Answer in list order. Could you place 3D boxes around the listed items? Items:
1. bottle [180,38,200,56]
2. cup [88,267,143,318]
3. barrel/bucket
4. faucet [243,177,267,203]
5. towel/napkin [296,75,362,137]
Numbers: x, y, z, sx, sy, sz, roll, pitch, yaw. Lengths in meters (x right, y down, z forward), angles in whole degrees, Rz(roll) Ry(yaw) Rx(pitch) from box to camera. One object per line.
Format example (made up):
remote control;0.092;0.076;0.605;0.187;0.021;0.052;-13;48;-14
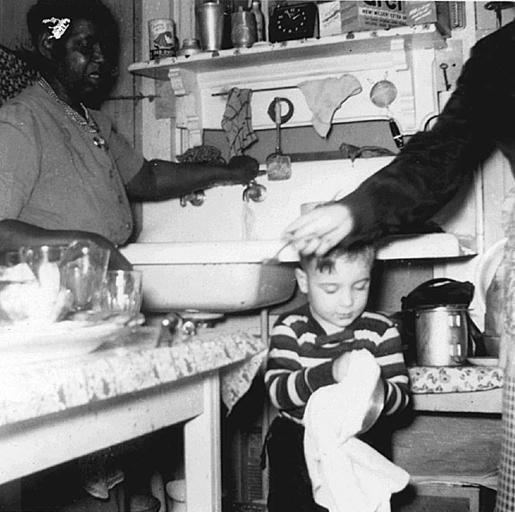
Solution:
bottle;-0.212;-0.646;2.119;0.061;0.061;0.064;-1;-7;-1
cup;-0.207;0.054;0.982;0.059;0.073;0.064;2;-4;0
barrel/bucket;0.424;0.185;1.575;0.122;0.148;0.129;0;-9;0
faucet;-0.013;-0.196;2.121;0.054;0.080;0.038;0;-13;15
towel/napkin;0.231;-0.462;2.165;0.167;0.184;0.053;7;4;16
